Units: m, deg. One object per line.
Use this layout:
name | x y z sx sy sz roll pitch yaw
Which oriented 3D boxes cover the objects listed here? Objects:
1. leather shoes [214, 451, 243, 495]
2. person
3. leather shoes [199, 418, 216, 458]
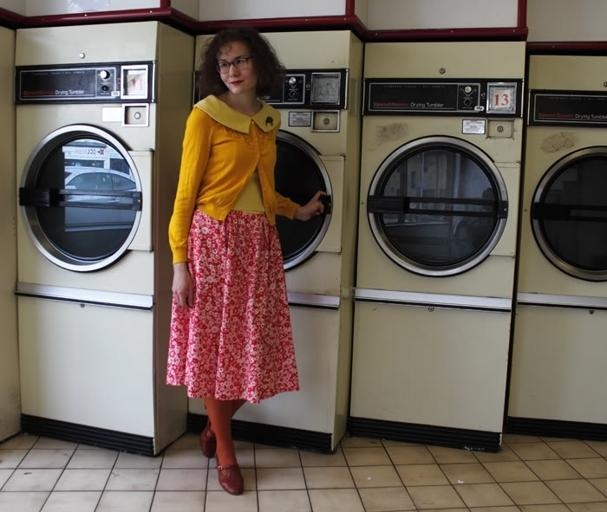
leather shoes | -0.313 0.943 2.319 0.060 0.057 0.183 5 24 -24
person | -0.292 -0.164 2.282 0.553 1.555 0.331 1 9 -1
leather shoes | -0.466 0.870 2.567 0.057 0.072 0.193 7 49 -28
